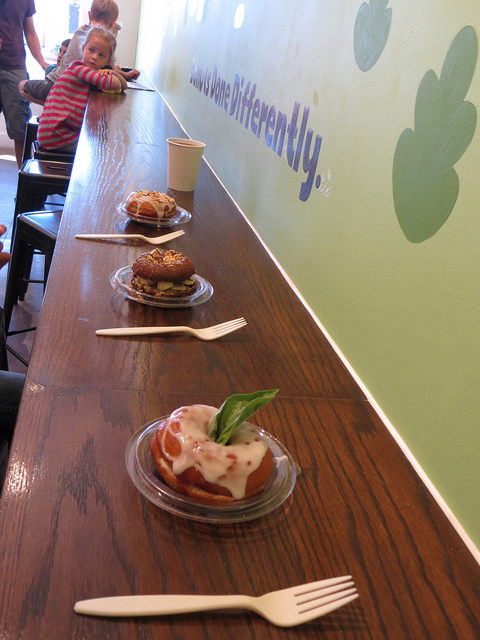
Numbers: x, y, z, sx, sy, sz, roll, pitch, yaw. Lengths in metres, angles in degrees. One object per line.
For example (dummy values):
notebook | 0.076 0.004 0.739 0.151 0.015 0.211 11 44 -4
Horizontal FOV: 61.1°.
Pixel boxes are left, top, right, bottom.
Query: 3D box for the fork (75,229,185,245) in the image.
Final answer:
fork | -0.302 -0.221 1.075 0.250 0.045 0.040 -4 31 -14

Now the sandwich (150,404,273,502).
sandwich | -0.032 0.132 0.399 0.125 0.051 0.070 22 23 10

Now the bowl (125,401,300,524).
bowl | -0.026 0.142 0.427 0.158 0.059 0.182 18 13 -10

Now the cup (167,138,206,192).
cup | -0.208 -0.598 1.518 0.141 0.182 0.174 5 39 -11

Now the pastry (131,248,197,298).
pastry | -0.156 -0.098 0.837 0.128 0.072 0.128 29 26 26

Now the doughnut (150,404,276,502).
doughnut | -0.031 0.140 0.438 0.129 0.069 0.151 14 10 -27

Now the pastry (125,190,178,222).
pastry | -0.261 -0.335 1.186 0.162 0.098 0.148 -4 14 -13

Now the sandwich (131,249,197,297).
sandwich | -0.159 -0.098 0.858 0.116 0.084 0.129 -12 30 -30
